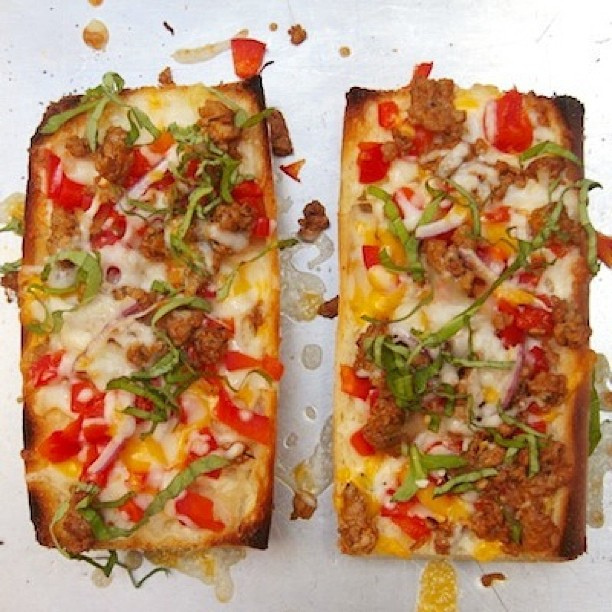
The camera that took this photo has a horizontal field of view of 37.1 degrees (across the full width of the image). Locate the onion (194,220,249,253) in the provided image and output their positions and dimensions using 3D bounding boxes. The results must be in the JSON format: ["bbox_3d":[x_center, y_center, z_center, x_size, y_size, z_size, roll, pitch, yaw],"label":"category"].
[{"bbox_3d":[-0.305,-0.251,3.322,0.181,0.088,0.053,18,82,-7],"label":"onion"}]

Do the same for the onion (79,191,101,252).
[{"bbox_3d":[-0.797,-0.322,3.394,0.078,0.308,0.070,10,70,-1],"label":"onion"}]

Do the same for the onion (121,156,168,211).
[{"bbox_3d":[-0.629,-0.427,3.318,0.070,0.229,0.206,20,94,4],"label":"onion"}]

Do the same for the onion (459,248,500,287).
[{"bbox_3d":[0.605,-0.136,3.281,0.112,0.046,0.151,-35,92,-18],"label":"onion"}]

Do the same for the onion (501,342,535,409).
[{"bbox_3d":[0.749,0.252,3.257,0.068,0.168,0.206,20,105,4],"label":"onion"}]

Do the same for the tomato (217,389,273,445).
[{"bbox_3d":[-0.239,0.413,3.338,0.250,0.096,0.113,35,81,10],"label":"tomato"}]

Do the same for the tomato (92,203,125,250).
[{"bbox_3d":[-0.724,-0.285,3.298,0.152,0.045,0.154,-2,99,-3],"label":"tomato"}]

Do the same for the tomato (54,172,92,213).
[{"bbox_3d":[-0.861,-0.418,3.365,0.171,0.051,0.127,5,94,9],"label":"tomato"}]

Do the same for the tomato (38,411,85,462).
[{"bbox_3d":[-0.888,0.493,3.346,0.151,0.063,0.211,28,112,-19],"label":"tomato"}]

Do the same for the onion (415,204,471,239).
[{"bbox_3d":[0.490,-0.290,3.248,0.215,0.039,0.082,-31,77,-6],"label":"onion"}]

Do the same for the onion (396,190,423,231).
[{"bbox_3d":[0.355,-0.333,3.302,0.055,0.168,0.150,12,93,-1],"label":"onion"}]

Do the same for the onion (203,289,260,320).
[{"bbox_3d":[-0.267,0.004,3.370,0.143,0.035,0.100,-33,49,1],"label":"onion"}]

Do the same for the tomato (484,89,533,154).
[{"bbox_3d":[0.737,-0.660,3.315,0.218,0.095,0.216,-2,92,-9],"label":"tomato"}]

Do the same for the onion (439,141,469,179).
[{"bbox_3d":[0.533,-0.527,3.285,0.152,0.046,0.075,-43,43,5],"label":"onion"}]

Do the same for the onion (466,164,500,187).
[{"bbox_3d":[0.647,-0.475,3.284,0.123,0.022,0.055,23,78,8],"label":"onion"}]

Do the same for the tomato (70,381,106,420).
[{"bbox_3d":[-0.799,0.343,3.331,0.168,0.044,0.123,4,89,10],"label":"tomato"}]

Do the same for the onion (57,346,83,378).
[{"bbox_3d":[-0.857,0.202,3.290,0.070,0.031,0.111,28,96,24],"label":"onion"}]

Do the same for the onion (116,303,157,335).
[{"bbox_3d":[-0.621,0.044,3.283,0.174,0.025,0.051,-44,78,-9],"label":"onion"}]
